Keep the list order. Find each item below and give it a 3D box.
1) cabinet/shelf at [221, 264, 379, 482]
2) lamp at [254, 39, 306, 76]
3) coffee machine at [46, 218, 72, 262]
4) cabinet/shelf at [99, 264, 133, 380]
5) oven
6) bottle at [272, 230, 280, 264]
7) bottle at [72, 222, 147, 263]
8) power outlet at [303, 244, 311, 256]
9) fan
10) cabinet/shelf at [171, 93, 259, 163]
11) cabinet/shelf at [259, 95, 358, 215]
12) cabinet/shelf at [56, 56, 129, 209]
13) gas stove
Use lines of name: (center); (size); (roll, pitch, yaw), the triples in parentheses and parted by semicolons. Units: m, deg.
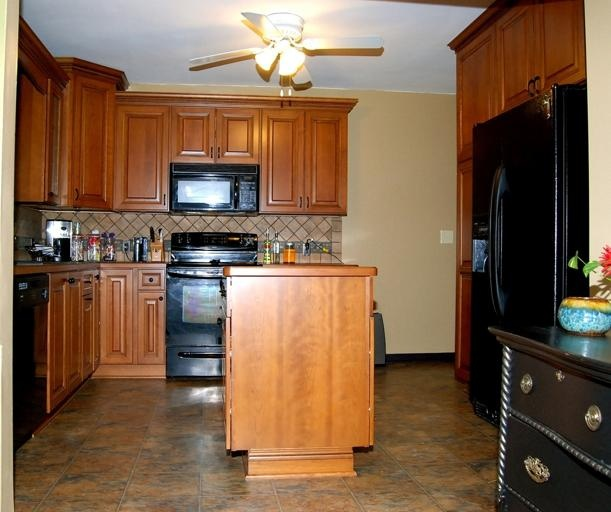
cabinet/shelf: (-0.025, 0.515, 2.877); (0.991, 1.079, 0.995); (-4, 8, -29)
lamp: (-0.179, -1.363, 3.563); (0.328, 0.166, 0.253); (0, 2, -4)
coffee machine: (-2.207, -0.100, 4.662); (0.222, 0.420, 0.227); (2, -25, -27)
cabinet/shelf: (-1.573, 0.526, 4.305); (0.295, 0.920, 0.082); (3, 8, -6)
oven: (-0.882, 0.533, 4.587); (0.583, 1.052, 0.703); (1, 5, 8)
bottle: (-0.282, -0.083, 5.007); (0.077, 0.297, 0.043); (0, 2, -6)
bottle: (-1.772, -0.133, 4.701); (0.670, 0.361, 0.408); (0, 2, -21)
power outlet: (0.020, -0.063, 5.053); (0.080, 0.117, 0.029); (0, 2, -10)
fan: (-0.138, -1.488, 3.613); (1.313, 0.396, 1.226); (-7, 15, -32)
cabinet/shelf: (-0.819, -1.106, 4.663); (0.887, 0.610, 0.494); (0, 0, -6)
cabinet/shelf: (-0.016, -0.929, 4.743); (1.063, 1.358, 0.627); (1, -3, -2)
cabinet/shelf: (-1.828, -0.968, 4.354); (0.345, 1.216, 0.625); (10, 8, 26)
gas stove: (-0.836, -0.066, 4.751); (0.780, 0.281, 0.172); (0, 2, -12)
